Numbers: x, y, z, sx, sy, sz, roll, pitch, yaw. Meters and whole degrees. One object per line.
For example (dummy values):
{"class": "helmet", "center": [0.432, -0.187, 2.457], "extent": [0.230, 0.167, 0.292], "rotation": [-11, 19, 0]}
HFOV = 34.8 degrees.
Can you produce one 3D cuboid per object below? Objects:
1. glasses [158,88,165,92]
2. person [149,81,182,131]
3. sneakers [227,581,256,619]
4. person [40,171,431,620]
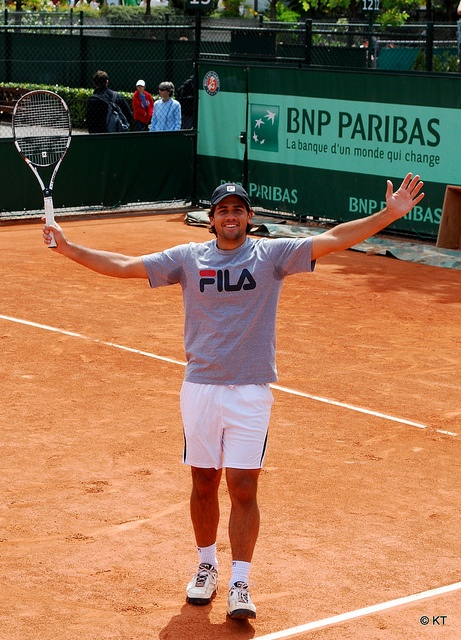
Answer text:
{"class": "glasses", "center": [-1.451, -4.900, 15.603], "extent": [0.137, 0.043, 0.129], "rotation": [-2, 9, -24]}
{"class": "person", "center": [-1.401, -4.583, 15.990], "extent": [0.685, 1.019, 1.061], "rotation": [1, 13, -6]}
{"class": "sneakers", "center": [0.042, 1.102, 2.878], "extent": [0.100, 0.124, 0.099], "rotation": [1, 13, -5]}
{"class": "person", "center": [-0.019, 0.262, 3.041], "extent": [1.267, 1.647, 0.665], "rotation": [6, 14, 16]}
